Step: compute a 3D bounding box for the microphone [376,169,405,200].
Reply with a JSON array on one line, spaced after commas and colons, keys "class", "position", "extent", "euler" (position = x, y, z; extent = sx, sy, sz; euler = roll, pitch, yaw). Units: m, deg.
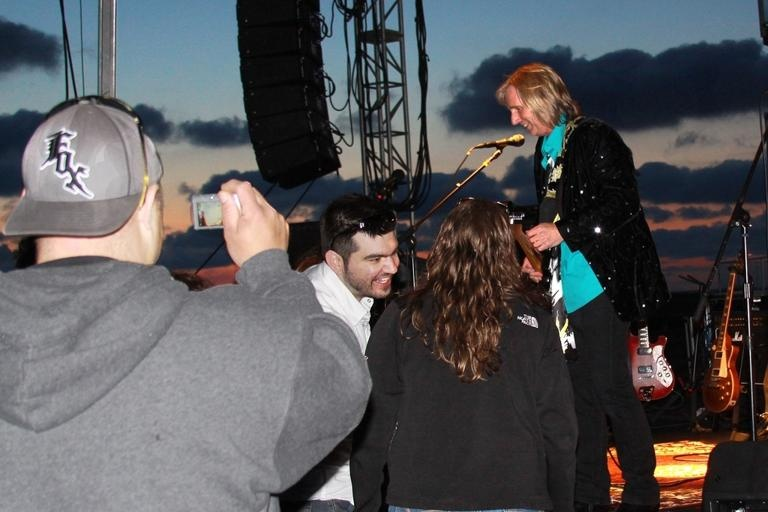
[{"class": "microphone", "position": [0.061, -0.750, 8.546], "extent": [0.294, 0.303, 0.540], "euler": [-1, 9, -1]}]

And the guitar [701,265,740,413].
[{"class": "guitar", "position": [3.309, 0.851, 7.942], "extent": [0.335, 1.520, 0.612], "euler": [4, 11, 24]}]

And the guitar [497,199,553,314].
[{"class": "guitar", "position": [1.231, -0.026, 6.598], "extent": [0.841, 0.684, 0.181], "euler": [19, -45, -43]}]
